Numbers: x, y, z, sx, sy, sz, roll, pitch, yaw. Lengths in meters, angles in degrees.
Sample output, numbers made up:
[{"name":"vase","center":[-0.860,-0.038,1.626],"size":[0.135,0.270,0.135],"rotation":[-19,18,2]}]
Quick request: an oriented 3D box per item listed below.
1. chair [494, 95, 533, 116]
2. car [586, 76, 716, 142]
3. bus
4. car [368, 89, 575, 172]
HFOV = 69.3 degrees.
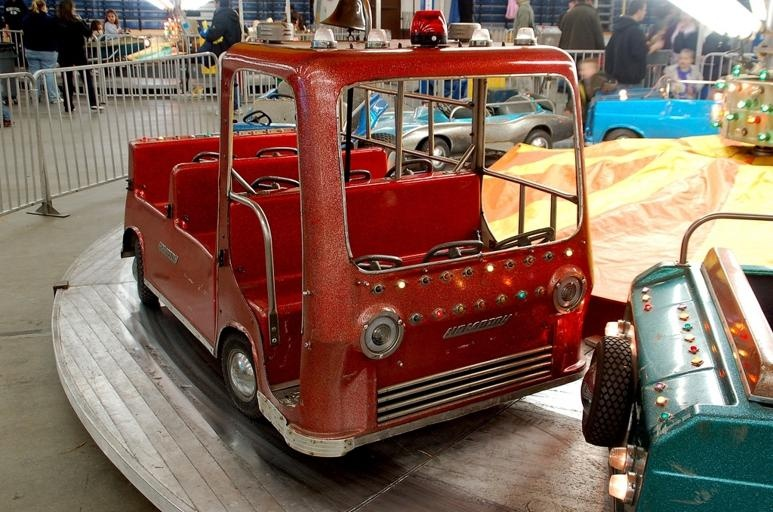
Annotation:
[{"name":"chair","center":[2.133,-2.491,9.381],"size":[0.556,0.227,0.389],"rotation":[-11,19,-25]},{"name":"car","center":[3.895,-2.051,8.239],"size":[1.752,0.855,1.079],"rotation":[-1,19,5]},{"name":"bus","center":[-0.521,-0.415,4.868],"size":[2.550,2.783,4.181],"rotation":[-8,18,-28]},{"name":"car","center":[1.432,-2.034,8.909],"size":[3.192,1.070,1.717],"rotation":[-4,11,-23]}]
